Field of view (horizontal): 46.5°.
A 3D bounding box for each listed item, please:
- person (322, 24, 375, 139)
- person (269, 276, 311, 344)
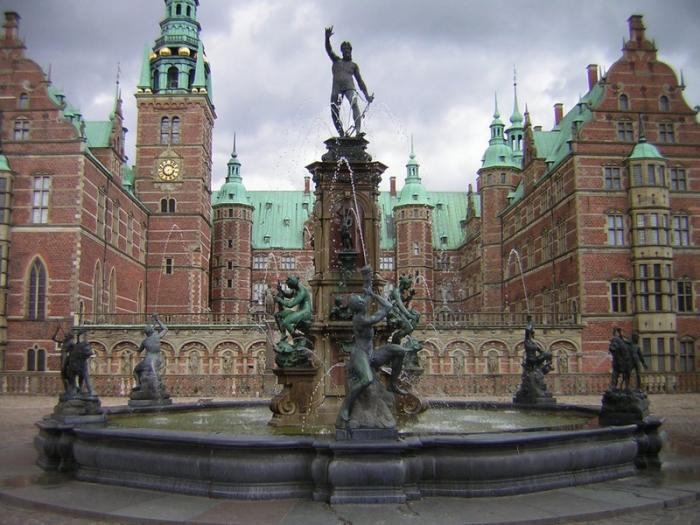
[{"bbox_3d":[-0.001,-4.593,20.188,1.042,2.965,1.178,-1,-6,-3],"label":"person"},{"bbox_3d":[-1.258,1.014,18.335,0.812,1.465,1.933,-1,-6,-4],"label":"person"}]
